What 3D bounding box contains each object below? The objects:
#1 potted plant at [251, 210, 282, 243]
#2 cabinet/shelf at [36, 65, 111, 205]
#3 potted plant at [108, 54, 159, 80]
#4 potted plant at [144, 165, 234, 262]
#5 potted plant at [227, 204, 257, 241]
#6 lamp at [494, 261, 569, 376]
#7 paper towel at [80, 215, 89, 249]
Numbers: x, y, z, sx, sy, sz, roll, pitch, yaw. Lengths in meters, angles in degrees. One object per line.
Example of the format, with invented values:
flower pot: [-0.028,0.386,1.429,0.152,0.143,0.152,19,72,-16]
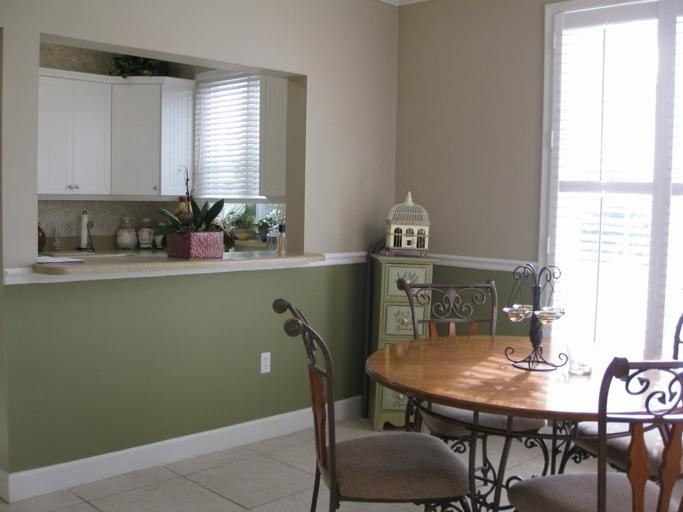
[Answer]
potted plant: [-0.724,-0.282,5.339,0.222,0.268,0.219,3,-1,3]
cabinet/shelf: [-2.458,-1.114,5.223,0.635,1.053,0.197,-3,8,-30]
potted plant: [-2.033,-1.839,5.542,0.464,0.250,0.320,-1,7,-21]
potted plant: [-0.946,-0.222,3.557,0.439,0.474,0.398,1,0,-24]
potted plant: [-0.936,-0.270,5.408,0.212,0.269,0.215,-8,-8,-12]
lamp: [1.055,0.335,3.089,0.406,0.613,0.415,4,8,37]
paper towel: [-2.455,-0.242,5.365,0.090,0.343,0.234,-2,7,-24]
